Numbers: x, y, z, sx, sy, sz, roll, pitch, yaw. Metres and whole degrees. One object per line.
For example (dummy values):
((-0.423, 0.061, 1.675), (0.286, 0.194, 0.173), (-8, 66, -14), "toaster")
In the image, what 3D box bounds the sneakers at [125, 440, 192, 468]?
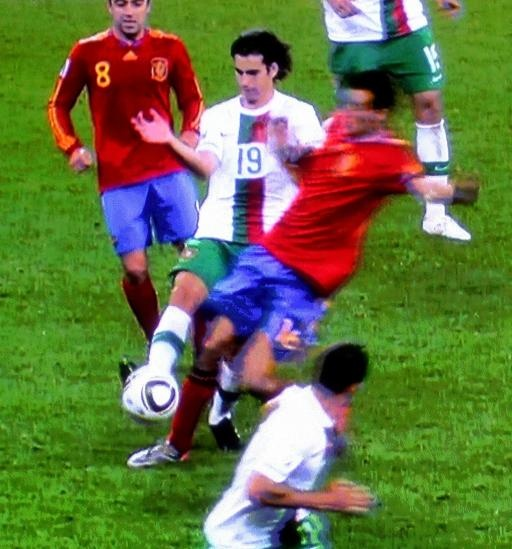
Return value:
((-0.519, 0.925, 6.177), (0.350, 0.174, 0.128), (0, 7, -10), "sneakers")

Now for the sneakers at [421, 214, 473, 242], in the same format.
((1.344, -0.317, 8.153), (0.422, 0.193, 0.138), (2, 2, -32), "sneakers")
